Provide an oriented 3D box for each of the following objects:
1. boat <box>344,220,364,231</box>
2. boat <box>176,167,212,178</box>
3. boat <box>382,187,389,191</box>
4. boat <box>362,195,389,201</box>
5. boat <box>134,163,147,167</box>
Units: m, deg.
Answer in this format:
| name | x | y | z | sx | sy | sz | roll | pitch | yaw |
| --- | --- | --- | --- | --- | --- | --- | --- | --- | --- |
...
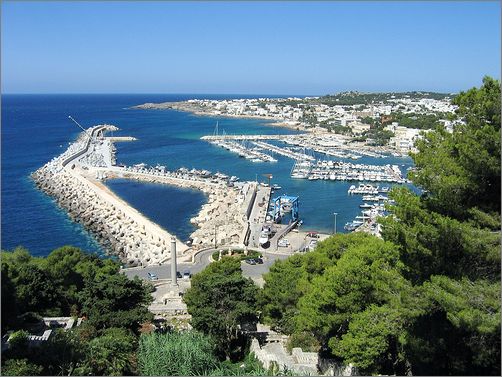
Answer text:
| name | x | y | z | sx | sy | sz | roll | pitch | yaw |
| --- | --- | --- | --- | --- | --- | --- | --- | --- | --- |
| boat | 12.329 | 4.461 | 51.219 | 1.622 | 0.622 | 1.176 | -2 | 5 | -25 |
| boat | -11.020 | -3.126 | 81.315 | 5.871 | 1.361 | 2.161 | 2 | -11 | 16 |
| boat | 22.235 | 0.057 | 69.674 | 0.870 | 0.203 | 0.876 | -1 | 17 | 8 |
| boat | 18.959 | 1.473 | 64.493 | 3.857 | 0.736 | 2.172 | -3 | 15 | -12 |
| boat | -21.941 | -4.635 | 83.009 | 1.714 | 0.466 | 1.604 | -4 | 15 | 2 |
